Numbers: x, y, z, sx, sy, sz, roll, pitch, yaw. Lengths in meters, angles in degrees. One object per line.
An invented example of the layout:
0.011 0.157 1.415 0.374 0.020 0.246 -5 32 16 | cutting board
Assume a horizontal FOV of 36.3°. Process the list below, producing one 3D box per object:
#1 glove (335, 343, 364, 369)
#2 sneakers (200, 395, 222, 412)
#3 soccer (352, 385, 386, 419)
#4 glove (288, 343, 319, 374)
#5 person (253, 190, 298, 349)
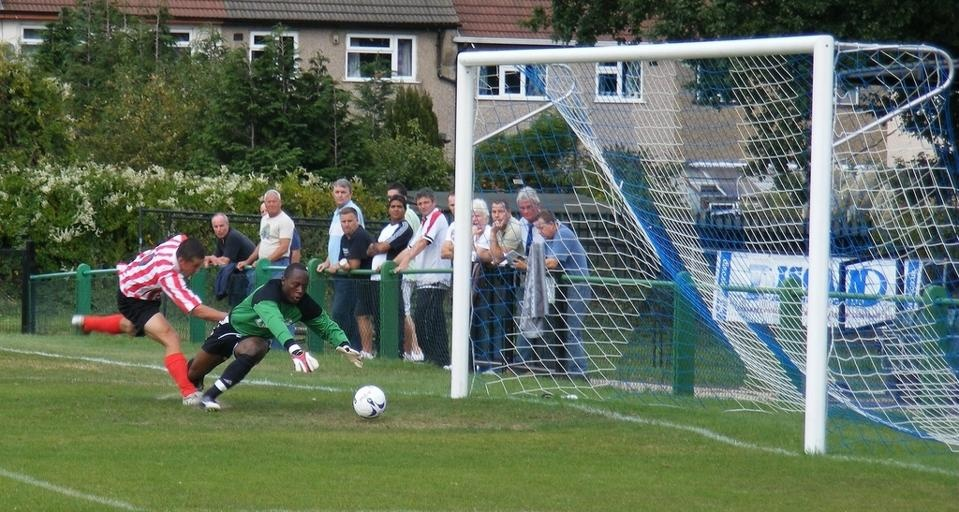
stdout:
-2.397 1.877 27.740 0.522 0.239 0.513 36 -13 -15 | glove
-4.670 2.586 25.709 0.438 0.194 0.187 16 11 30 | sneakers
-1.862 2.482 25.636 0.558 0.536 0.552 7 15 27 | soccer
-2.976 1.773 25.603 0.263 0.621 0.425 -19 -21 -38 | glove
-4.460 0.121 31.248 1.123 3.011 1.037 -1 5 -34 | person
